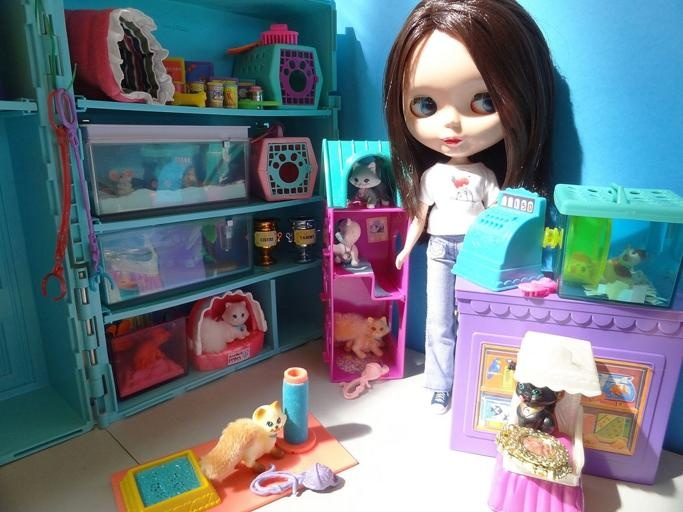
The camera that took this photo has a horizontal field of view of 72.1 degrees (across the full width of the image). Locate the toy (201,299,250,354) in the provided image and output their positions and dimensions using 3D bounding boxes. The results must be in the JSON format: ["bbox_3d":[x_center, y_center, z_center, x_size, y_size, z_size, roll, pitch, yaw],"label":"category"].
[{"bbox_3d":[-0.609,0.348,2.372,0.284,0.211,0.212,-16,14,-23],"label":"toy"}]

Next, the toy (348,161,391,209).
[{"bbox_3d":[0.138,-0.361,2.247,0.182,0.218,0.222,16,27,34],"label":"toy"}]

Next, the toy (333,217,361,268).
[{"bbox_3d":[0.024,-0.066,2.227,0.124,0.226,0.128,-2,17,2],"label":"toy"}]

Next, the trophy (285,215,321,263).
[{"bbox_3d":[-0.211,-0.106,2.569,0.157,0.238,0.285,-4,17,-3],"label":"trophy"}]

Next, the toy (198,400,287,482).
[{"bbox_3d":[-0.364,0.694,1.744,0.173,0.211,0.379,-8,2,41],"label":"toy"}]

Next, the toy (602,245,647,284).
[{"bbox_3d":[0.957,0.033,1.585,0.129,0.121,0.078,-6,14,34],"label":"toy"}]

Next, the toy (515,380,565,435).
[{"bbox_3d":[0.672,0.499,1.612,0.130,0.203,0.148,-8,13,-34],"label":"toy"}]

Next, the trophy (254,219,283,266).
[{"bbox_3d":[-0.392,-0.081,2.422,0.214,0.262,0.198,-1,11,-8],"label":"trophy"}]

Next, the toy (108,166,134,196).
[{"bbox_3d":[-0.887,-0.305,1.867,0.092,0.110,0.052,-15,29,-40],"label":"toy"}]
